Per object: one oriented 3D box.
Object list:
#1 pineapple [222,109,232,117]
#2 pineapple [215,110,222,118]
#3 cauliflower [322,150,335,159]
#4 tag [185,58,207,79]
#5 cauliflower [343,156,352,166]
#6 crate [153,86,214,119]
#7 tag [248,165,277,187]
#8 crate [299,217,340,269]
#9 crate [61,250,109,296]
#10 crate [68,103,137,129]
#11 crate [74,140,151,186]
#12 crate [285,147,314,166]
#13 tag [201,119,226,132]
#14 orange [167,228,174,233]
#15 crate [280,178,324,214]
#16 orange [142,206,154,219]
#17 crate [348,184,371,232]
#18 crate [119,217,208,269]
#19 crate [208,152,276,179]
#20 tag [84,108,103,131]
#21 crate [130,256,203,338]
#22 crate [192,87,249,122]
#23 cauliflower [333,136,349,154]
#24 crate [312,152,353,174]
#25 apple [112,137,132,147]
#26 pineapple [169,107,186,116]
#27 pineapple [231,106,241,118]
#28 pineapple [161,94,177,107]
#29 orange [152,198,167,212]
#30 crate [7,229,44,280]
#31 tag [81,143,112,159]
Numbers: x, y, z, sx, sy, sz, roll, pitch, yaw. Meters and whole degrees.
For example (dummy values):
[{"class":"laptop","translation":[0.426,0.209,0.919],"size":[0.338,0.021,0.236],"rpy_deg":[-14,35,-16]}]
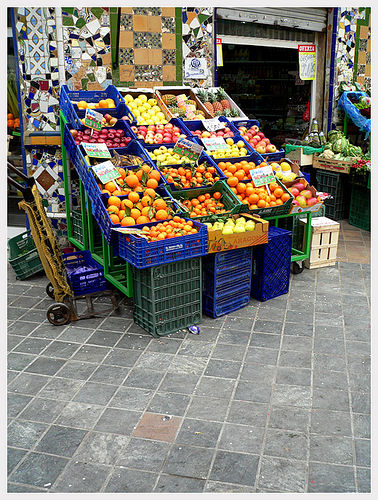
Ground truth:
[{"class":"pineapple","translation":[0.620,-2.177,5.878],"size":[0.124,0.129,0.122],"rpy_deg":[0,37,3]},{"class":"pineapple","translation":[0.478,-2.133,5.832],"size":[0.091,0.122,0.059],"rpy_deg":[0,0,2]},{"class":"cauliflower","translation":[2.741,-1.897,7.328],"size":[0.174,0.176,0.076],"rpy_deg":[44,-5,14]},{"class":"tag","translation":[0.106,-3.050,6.227],"size":[0.366,0.295,0.046],"rpy_deg":[-11,19,-32]},{"class":"cauliflower","translation":[2.978,-1.687,7.038],"size":[0.127,0.149,0.305],"rpy_deg":[5,15,22]},{"class":"crate","translation":[-0.104,-2.242,5.681],"size":[0.991,0.492,0.424],"rpy_deg":[-16,28,-27]},{"class":"tag","translation":[0.908,-0.908,4.557],"size":[0.290,0.269,0.073],"rpy_deg":[-16,-6,-21]},{"class":"crate","translation":[1.804,-0.108,5.223],"size":[0.556,0.724,0.530],"rpy_deg":[-9,18,-21]},{"class":"crate","translation":[-1.206,0.247,4.376],"size":[0.469,0.378,0.602],"rpy_deg":[-6,15,-19]},{"class":"crate","translation":[-1.120,-1.750,4.649],"size":[0.606,0.197,0.557],"rpy_deg":[-5,51,-19]},{"class":"crate","translation":[-0.820,-1.136,4.488],"size":[0.687,0.281,0.632],"rpy_deg":[-11,51,-20]},{"class":"crate","translation":[2.235,-1.905,7.541],"size":[0.529,0.352,0.330],"rpy_deg":[5,15,21]},{"class":"tag","translation":[0.349,-1.786,5.325],"size":[0.319,0.194,0.223],"rpy_deg":[-12,18,-38]},{"class":"orange","translation":[-0.165,-0.191,3.500],"size":[0.043,0.050,0.043],"rpy_deg":[-1,7,3]},{"class":"crate","translation":[1.473,-0.689,4.973],"size":[0.665,0.500,0.461],"rpy_deg":[-6,21,-15]},{"class":"orange","translation":[-0.401,-0.382,3.712],"size":[0.114,0.112,0.144],"rpy_deg":[-1,14,-2]},{"class":"crate","translation":[3.171,-0.806,6.937],"size":[0.137,0.832,0.423],"rpy_deg":[-9,17,-29]},{"class":"crate","translation":[-0.274,-0.088,3.583],"size":[0.762,0.420,0.600],"rpy_deg":[-8,23,-26]},{"class":"crate","translation":[0.709,-1.184,4.913],"size":[0.544,0.158,0.498],"rpy_deg":[-7,44,-14]},{"class":"tag","translation":[-1.122,-1.557,4.427],"size":[0.067,0.246,0.255],"rpy_deg":[-7,-7,38]},{"class":"crate","translation":[-0.226,0.326,3.881],"size":[0.744,0.761,0.594],"rpy_deg":[-9,27,-26]},{"class":"crate","translation":[0.511,-2.303,6.225],"size":[0.633,0.311,1.006],"rpy_deg":[-22,69,-35]},{"class":"cauliflower","translation":[3.022,-2.076,7.432],"size":[0.281,0.345,0.167],"rpy_deg":[26,-5,32]},{"class":"crate","translation":[2.748,-1.650,7.164],"size":[0.478,0.142,0.477],"rpy_deg":[18,31,27]},{"class":"apple","translation":[-0.801,-1.310,4.499],"size":[0.241,0.118,0.117],"rpy_deg":[-6,15,-19]},{"class":"pineapple","translation":[-0.172,-2.073,5.546],"size":[0.160,0.130,0.228],"rpy_deg":[10,18,37]},{"class":"pineapple","translation":[0.761,-2.215,6.030],"size":[0.168,0.166,0.128],"rpy_deg":[-5,3,-29]},{"class":"pineapple","translation":[-0.297,-2.291,5.711],"size":[0.154,0.210,0.278],"rpy_deg":[7,16,28]},{"class":"orange","translation":[-0.292,-0.468,3.841],"size":[0.121,0.137,0.121],"rpy_deg":[-2,-18,8]},{"class":"crate","translation":[-2.156,0.074,4.942],"size":[0.521,0.480,0.753],"rpy_deg":[-29,19,-9]},{"class":"tag","translation":[-1.014,-1.121,4.185],"size":[0.315,0.175,0.216],"rpy_deg":[-8,16,-26]}]
